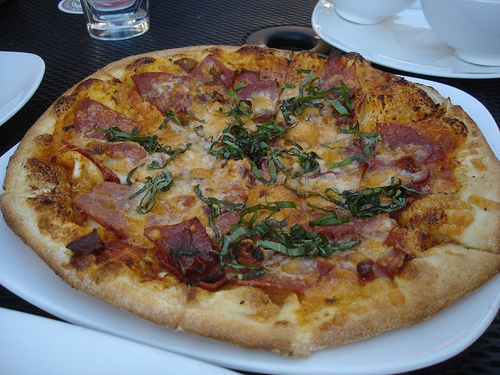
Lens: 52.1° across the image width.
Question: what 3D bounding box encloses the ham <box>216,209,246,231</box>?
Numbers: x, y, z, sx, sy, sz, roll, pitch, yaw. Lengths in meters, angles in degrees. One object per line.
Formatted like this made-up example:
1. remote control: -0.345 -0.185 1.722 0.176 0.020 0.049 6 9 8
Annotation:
1. ham: -0.088 0.147 2.358 0.158 0.092 0.079 -28 81 -7

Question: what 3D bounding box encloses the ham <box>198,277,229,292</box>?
1. ham: -0.150 0.412 2.153 0.094 0.067 0.025 -16 115 -35

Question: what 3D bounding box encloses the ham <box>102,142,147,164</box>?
1. ham: -0.639 -0.175 2.615 0.197 0.037 0.098 7 49 -4

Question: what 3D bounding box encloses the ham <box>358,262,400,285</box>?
1. ham: 0.552 0.363 2.252 0.194 0.189 0.064 -3 101 -11

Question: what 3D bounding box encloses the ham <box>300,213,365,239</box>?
1. ham: 0.373 0.196 2.304 0.282 0.057 0.073 1 78 -2

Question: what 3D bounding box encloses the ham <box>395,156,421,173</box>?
1. ham: 0.773 -0.106 2.501 0.103 0.023 0.081 -25 77 -1
